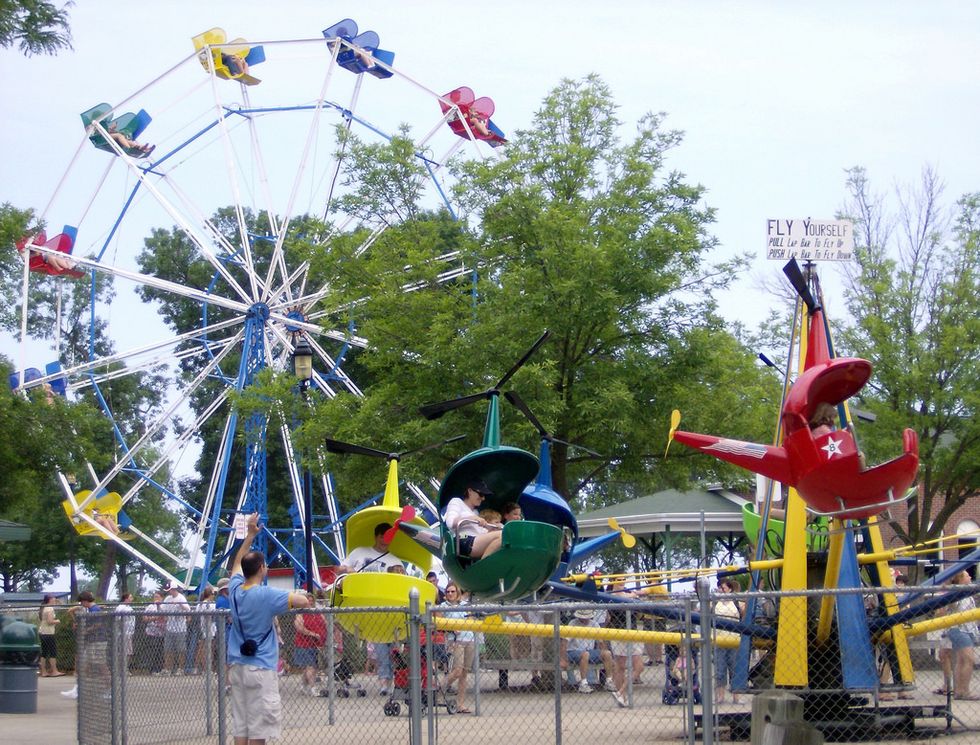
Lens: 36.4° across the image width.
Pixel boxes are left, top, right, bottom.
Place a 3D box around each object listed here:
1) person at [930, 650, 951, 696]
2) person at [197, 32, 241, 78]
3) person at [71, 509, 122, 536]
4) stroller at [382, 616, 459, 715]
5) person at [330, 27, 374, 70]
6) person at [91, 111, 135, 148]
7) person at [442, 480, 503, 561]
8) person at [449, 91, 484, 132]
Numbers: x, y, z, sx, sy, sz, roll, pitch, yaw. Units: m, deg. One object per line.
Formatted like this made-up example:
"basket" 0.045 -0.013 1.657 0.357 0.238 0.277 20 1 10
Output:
"person" 5.893 3.878 19.387 0.220 0.583 1.875 -4 -13 16
"person" -7.099 -8.273 38.872 1.244 1.240 0.726 9 -14 -38
"person" -10.538 4.024 39.735 0.885 0.430 0.848 0 -1 -14
"stroller" -0.950 3.606 18.192 1.141 1.406 0.927 -2 -7 11
"person" -3.506 -8.265 38.881 1.198 1.369 1.148 1 -12 -7
"person" -9.879 -6.399 39.526 1.009 1.005 0.886 6 14 22
"person" -0.099 2.027 18.662 0.667 1.337 0.515 5 8 -1
"person" -0.768 -6.711 38.145 0.939 1.146 1.005 0 -12 -2
